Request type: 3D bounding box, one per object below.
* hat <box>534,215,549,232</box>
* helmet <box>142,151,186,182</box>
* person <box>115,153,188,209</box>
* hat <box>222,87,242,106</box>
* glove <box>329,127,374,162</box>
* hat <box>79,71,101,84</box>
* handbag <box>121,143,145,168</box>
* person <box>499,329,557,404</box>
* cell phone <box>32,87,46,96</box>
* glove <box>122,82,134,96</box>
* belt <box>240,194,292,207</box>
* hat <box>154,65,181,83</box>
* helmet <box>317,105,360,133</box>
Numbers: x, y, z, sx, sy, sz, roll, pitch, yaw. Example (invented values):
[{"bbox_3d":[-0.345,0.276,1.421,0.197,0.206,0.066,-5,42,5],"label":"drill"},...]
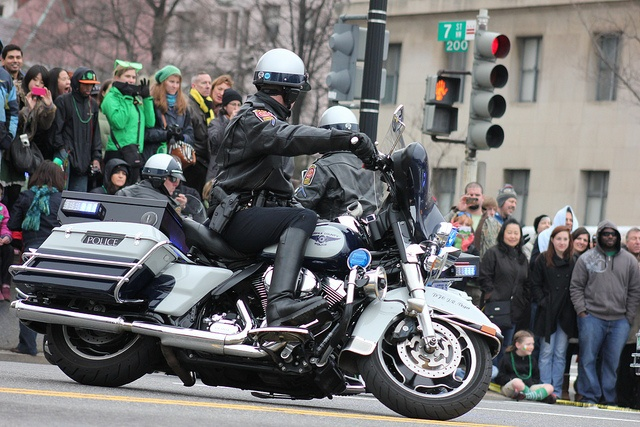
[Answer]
[{"bbox_3d":[3.885,0.221,17.466,0.217,0.294,0.288,9,18,4],"label":"hat"},{"bbox_3d":[-2.042,-0.607,13.236,0.619,0.341,0.446,9,0,6],"label":"helmet"},{"bbox_3d":[-2.218,-0.471,13.285,1.030,0.639,0.690,11,8,9],"label":"person"},{"bbox_3d":[-1.363,-1.830,15.490,0.283,0.270,0.239,-1,-8,-4],"label":"hat"},{"bbox_3d":[0.345,-0.738,10.618,0.349,0.133,0.355,10,-11,6],"label":"glove"},{"bbox_3d":[-3.431,-2.036,14.839,0.233,0.215,0.314,4,4,-6],"label":"hat"},{"bbox_3d":[-2.750,-0.844,14.661,0.349,0.360,0.260,-3,-1,-8],"label":"handbag"},{"bbox_3d":[3.152,2.355,15.262,0.782,1.089,1.062,9,-6,-34],"label":"person"},{"bbox_3d":[-4.082,-1.777,14.492,0.202,0.118,0.089,3,4,-18],"label":"cell phone"},{"bbox_3d":[-2.816,-1.843,14.714,0.170,0.193,0.123,4,4,-16],"label":"glove"},{"bbox_3d":[-0.599,-0.140,11.174,0.222,0.118,0.293,5,2,42],"label":"belt"},{"bbox_3d":[-2.311,-2.072,15.119,0.306,0.165,0.272,-20,4,28],"label":"hat"},{"bbox_3d":[0.286,-1.290,13.847,0.486,0.486,0.559,5,3,16],"label":"helmet"}]
